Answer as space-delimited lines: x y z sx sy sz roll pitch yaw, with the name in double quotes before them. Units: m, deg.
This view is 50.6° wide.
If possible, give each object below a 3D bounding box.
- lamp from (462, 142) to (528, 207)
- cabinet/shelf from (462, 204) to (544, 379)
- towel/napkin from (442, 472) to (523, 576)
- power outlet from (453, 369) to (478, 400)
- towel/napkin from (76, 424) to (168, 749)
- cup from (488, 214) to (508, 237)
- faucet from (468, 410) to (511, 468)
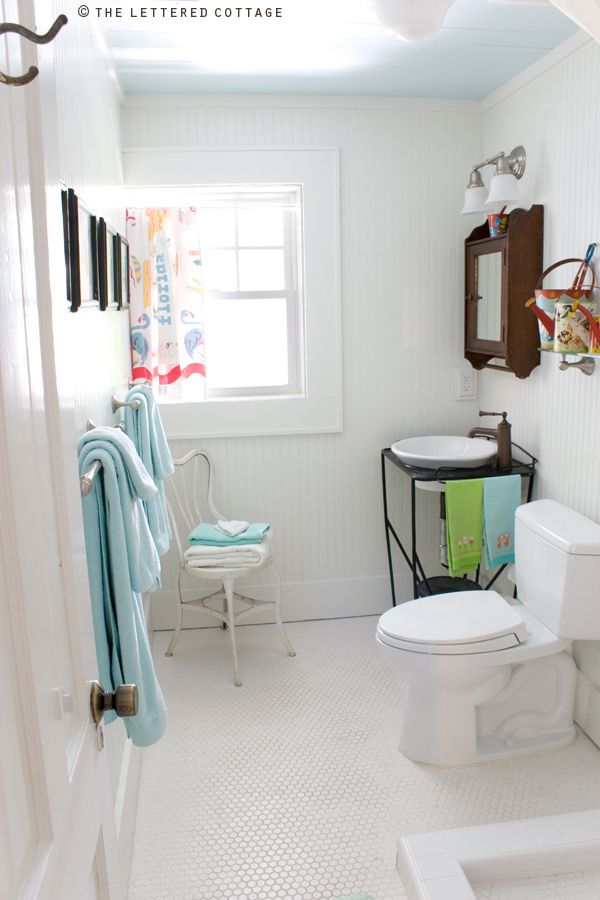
"lamp" 0.802 -1.079 2.482 0.112 0.214 0.253 -4 15 21
"cabinet/shelf" 0.844 -0.663 2.618 0.162 0.903 0.669 -1 5 -2
"towel/napkin" 0.720 0.275 2.491 0.286 0.467 0.112 -3 6 -8
"power outlet" 0.804 -0.327 3.101 0.096 0.212 0.019 -3 12 -9
"towel/napkin" -0.361 0.285 1.314 0.152 0.648 0.316 -4 8 -18
"cup" 0.823 -0.940 2.674 0.079 0.117 0.094 0 9 7
"faucet" 0.849 -0.071 2.818 0.176 0.239 0.503 0 9 11
